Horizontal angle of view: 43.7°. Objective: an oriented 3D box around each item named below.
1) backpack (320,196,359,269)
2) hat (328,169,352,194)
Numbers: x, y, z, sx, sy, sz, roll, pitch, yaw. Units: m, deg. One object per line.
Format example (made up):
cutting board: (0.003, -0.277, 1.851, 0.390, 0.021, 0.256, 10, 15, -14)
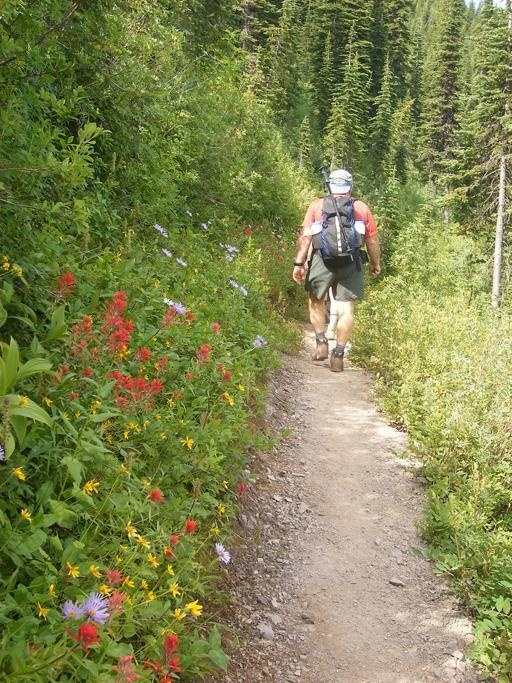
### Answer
backpack: (1.041, -1.362, 7.978, 0.533, 0.875, 0.357, 9, 13, 8)
hat: (1.089, -2.050, 8.282, 0.265, 0.192, 0.356, 0, 54, 3)
